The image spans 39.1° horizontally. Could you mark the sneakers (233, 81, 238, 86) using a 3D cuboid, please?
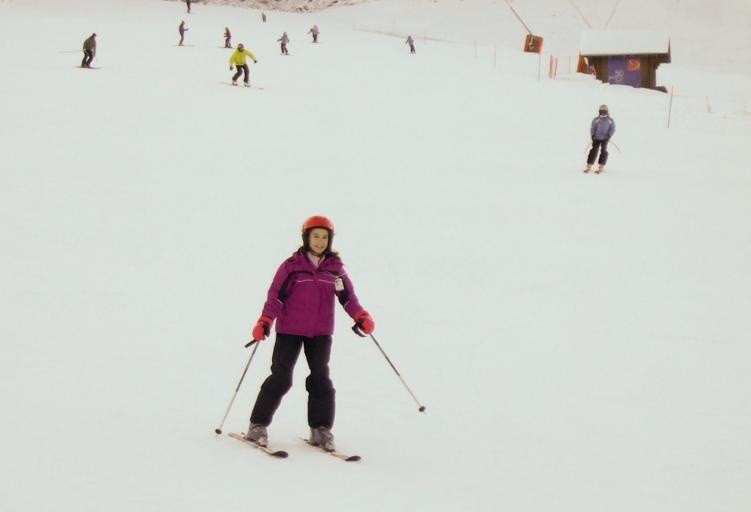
[{"bbox_3d":[-3.740,-4.625,28.162,0.082,0.126,0.106,0,8,-19],"label":"sneakers"}]

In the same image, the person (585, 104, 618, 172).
[{"bbox_3d":[5.465,-2.853,25.696,0.560,1.660,1.346,7,11,11],"label":"person"}]

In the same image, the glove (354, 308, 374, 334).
[{"bbox_3d":[-0.164,1.194,19.981,0.316,0.465,0.191,-20,16,46],"label":"glove"}]

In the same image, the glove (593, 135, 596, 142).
[{"bbox_3d":[5.240,-2.845,25.340,0.065,0.121,0.118,1,-1,3],"label":"glove"}]

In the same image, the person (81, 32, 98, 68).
[{"bbox_3d":[-7.709,-5.522,28.344,0.365,0.889,0.897,2,12,-17],"label":"person"}]

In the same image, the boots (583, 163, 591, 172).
[{"bbox_3d":[5.159,-2.160,25.711,0.155,0.165,0.459,-6,-10,4],"label":"boots"}]

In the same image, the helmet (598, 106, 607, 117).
[{"bbox_3d":[5.410,-3.509,25.095,0.192,0.327,0.246,-2,36,8],"label":"helmet"}]

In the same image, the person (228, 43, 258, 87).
[{"bbox_3d":[-3.537,-5.141,28.247,0.645,1.188,0.590,1,29,4],"label":"person"}]

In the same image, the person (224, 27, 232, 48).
[{"bbox_3d":[-4.427,-6.532,31.638,0.373,0.464,0.944,-2,16,-7],"label":"person"}]

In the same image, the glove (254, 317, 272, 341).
[{"bbox_3d":[-2.121,1.351,19.714,0.286,0.469,0.223,9,-3,-10],"label":"glove"}]

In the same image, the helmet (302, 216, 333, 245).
[{"bbox_3d":[-1.107,-0.528,20.112,0.397,0.441,0.527,3,-1,-3],"label":"helmet"}]

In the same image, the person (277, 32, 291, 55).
[{"bbox_3d":[-2.753,-6.424,31.854,0.339,0.622,1.431,5,12,-6],"label":"person"}]
